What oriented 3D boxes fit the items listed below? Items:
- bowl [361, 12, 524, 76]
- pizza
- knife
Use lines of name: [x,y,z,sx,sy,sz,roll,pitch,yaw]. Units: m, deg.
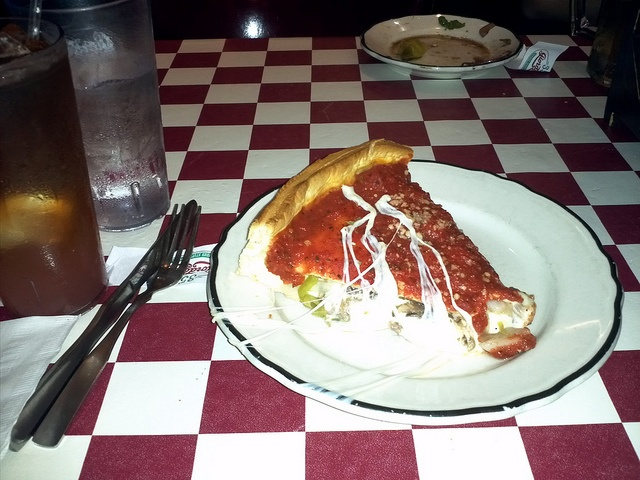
bowl: [0.328,-0.545,1.385,0.333,0.044,0.275,-12,38,-15]
pizza: [0.095,0.039,0.751,0.365,0.115,0.298,39,66,24]
knife: [-0.257,0.108,0.753,0.080,0.052,0.399,19,51,17]
